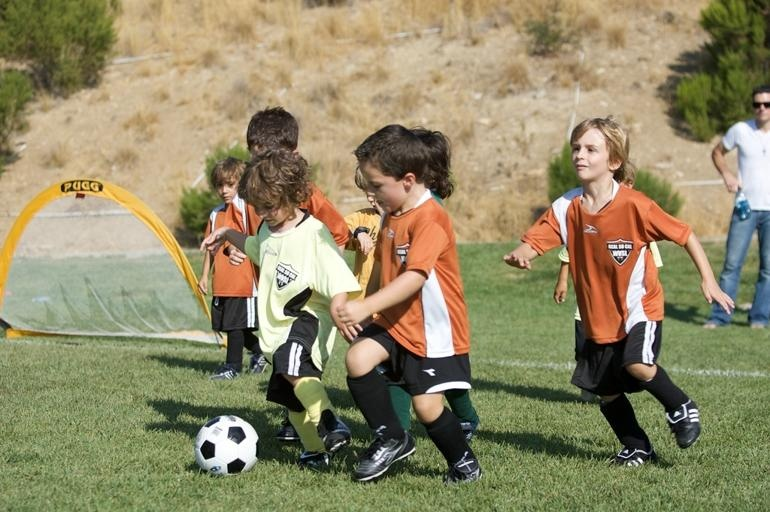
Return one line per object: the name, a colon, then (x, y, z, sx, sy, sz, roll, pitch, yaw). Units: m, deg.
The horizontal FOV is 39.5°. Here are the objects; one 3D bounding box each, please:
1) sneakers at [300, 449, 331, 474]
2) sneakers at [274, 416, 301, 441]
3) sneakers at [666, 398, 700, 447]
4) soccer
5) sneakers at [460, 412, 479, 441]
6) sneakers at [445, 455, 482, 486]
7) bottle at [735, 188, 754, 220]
sneakers: (-0.686, 2.004, 10.562, 0.258, 0.193, 0.164, -6, 4, 7)
sneakers: (-1.018, 1.779, 10.976, 0.132, 0.164, 0.339, 4, -1, -36)
sneakers: (2.891, 1.575, 10.496, 0.243, 0.224, 0.534, -30, 17, 13)
soccer: (-1.558, 1.843, 10.474, 0.511, 0.571, 0.527, -1, -1, 0)
sneakers: (0.844, 1.706, 10.842, 0.254, 0.275, 0.150, 1, 6, 5)
sneakers: (0.764, 2.089, 10.478, 0.222, 0.299, 0.470, -4, -15, -5)
bottle: (4.771, -0.679, 14.325, 0.205, 0.375, 0.347, -18, 7, 10)
